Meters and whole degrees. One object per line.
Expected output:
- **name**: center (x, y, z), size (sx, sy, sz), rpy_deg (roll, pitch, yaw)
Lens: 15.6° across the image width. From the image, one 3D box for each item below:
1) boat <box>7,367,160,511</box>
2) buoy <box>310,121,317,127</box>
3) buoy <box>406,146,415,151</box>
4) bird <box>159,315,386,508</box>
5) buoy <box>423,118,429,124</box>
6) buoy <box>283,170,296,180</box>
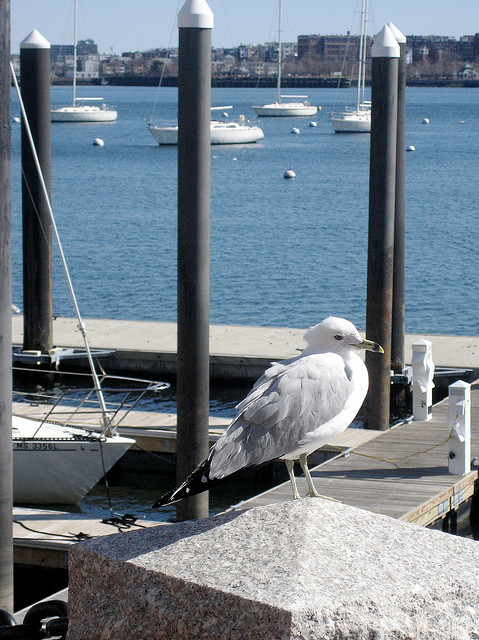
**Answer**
- **boat**: center (-1.687, 0.987, 14.545), size (1.897, 0.942, 0.960), rpy_deg (3, 10, 30)
- **buoy**: center (4.013, -10.757, 94.524), size (0.400, 0.349, 0.460), rpy_deg (3, 7, 7)
- **buoy**: center (6.643, -6.709, 67.152), size (0.249, 0.120, 0.328), rpy_deg (2, 4, 0)
- **bird**: center (0.275, 0.471, 8.740), size (1.257, 1.259, 0.621), rpy_deg (-6, 11, -20)
- **buoy**: center (10.320, -11.143, 96.228), size (0.447, 0.369, 0.575), rpy_deg (2, 5, 21)
- **buoy**: center (1.587, -4.539, 53.391), size (0.262, 0.424, 0.370), rpy_deg (-1, -1, -3)
